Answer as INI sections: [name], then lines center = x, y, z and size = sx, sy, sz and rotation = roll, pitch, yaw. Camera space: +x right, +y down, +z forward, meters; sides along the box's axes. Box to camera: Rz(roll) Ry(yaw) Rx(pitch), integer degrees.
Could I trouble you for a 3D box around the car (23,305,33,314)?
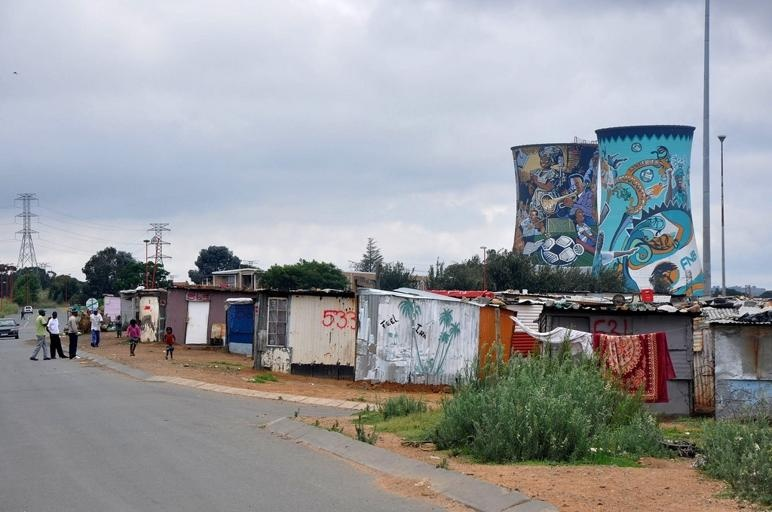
[car]
center = -43.288, 6.547, 118.091
size = 0.960, 0.770, 2.197
rotation = 0, -5, -13
